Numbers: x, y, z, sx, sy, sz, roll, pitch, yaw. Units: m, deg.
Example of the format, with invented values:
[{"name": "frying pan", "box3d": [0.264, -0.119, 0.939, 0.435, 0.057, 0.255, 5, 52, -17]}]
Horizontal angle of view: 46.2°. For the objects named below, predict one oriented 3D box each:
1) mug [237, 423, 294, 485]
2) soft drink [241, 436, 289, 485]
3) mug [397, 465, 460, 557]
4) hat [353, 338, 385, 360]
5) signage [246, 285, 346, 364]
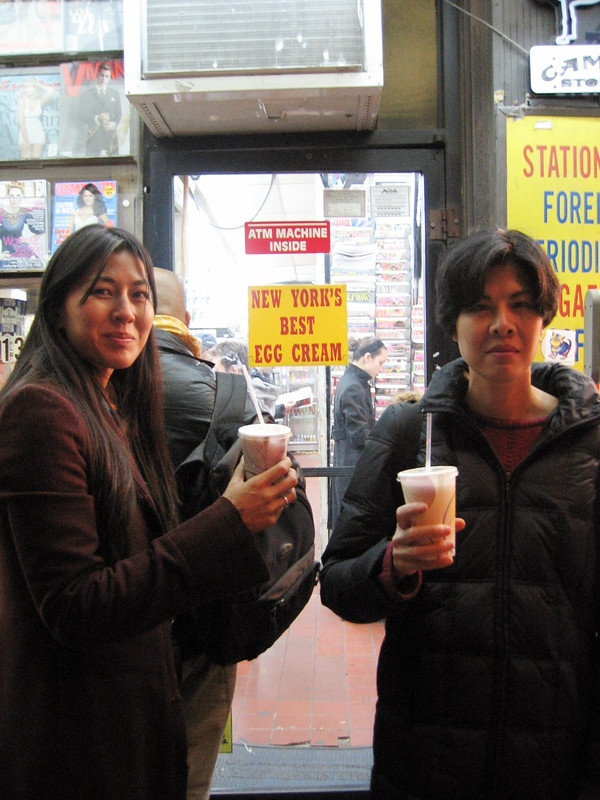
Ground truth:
[{"name": "mug", "box3d": [-0.071, 0.106, 1.420, 0.107, 0.113, 0.114, 7, 12, 34]}, {"name": "soft drink", "box3d": [-0.067, 0.118, 1.381, 0.079, 0.085, 0.084, -1, 1, 10]}, {"name": "mug", "box3d": [0.259, 0.211, 1.380, 0.109, 0.160, 0.112, -8, 6, -26]}, {"name": "hat", "box3d": [0.315, -0.215, 3.221, 0.115, 0.041, 0.091, -16, 2, 15]}, {"name": "signage", "box3d": [-0.037, -0.330, 3.198, 0.318, 0.279, 0.038, 1, -2, -5]}]
